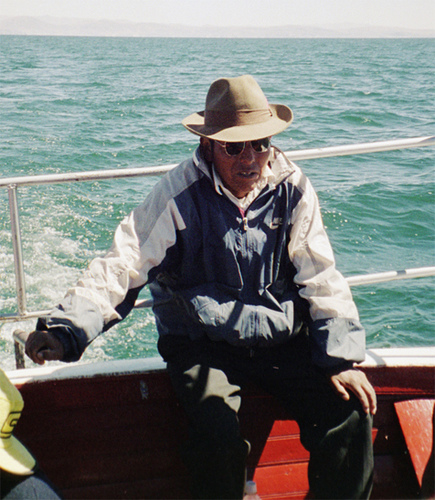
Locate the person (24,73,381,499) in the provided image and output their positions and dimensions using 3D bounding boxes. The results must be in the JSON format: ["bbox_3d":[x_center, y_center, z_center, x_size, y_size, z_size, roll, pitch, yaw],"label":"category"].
[{"bbox_3d":[0.050,0.150,2.232,1.083,1.562,0.899,3,19,4],"label":"person"}]
